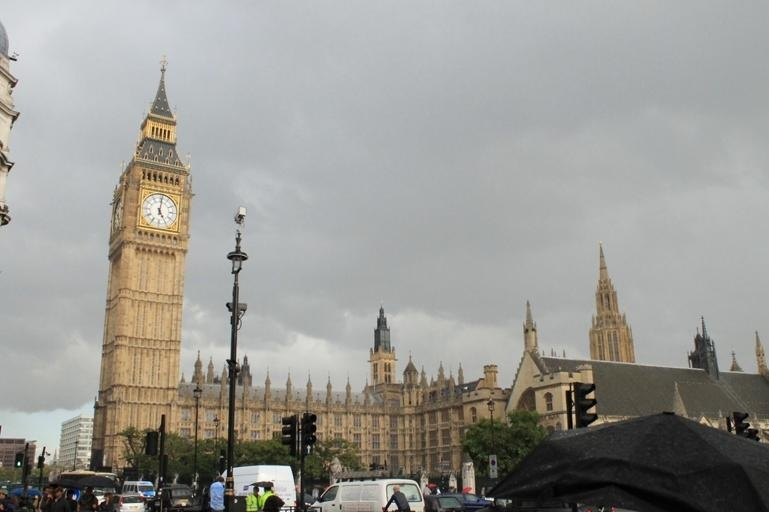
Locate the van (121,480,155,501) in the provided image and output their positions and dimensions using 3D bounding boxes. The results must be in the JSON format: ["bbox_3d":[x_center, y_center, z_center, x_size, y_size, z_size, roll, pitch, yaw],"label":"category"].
[{"bbox_3d":[-25.717,24.757,117.834,4.162,2.148,2.588,-14,-18,32],"label":"van"}]
